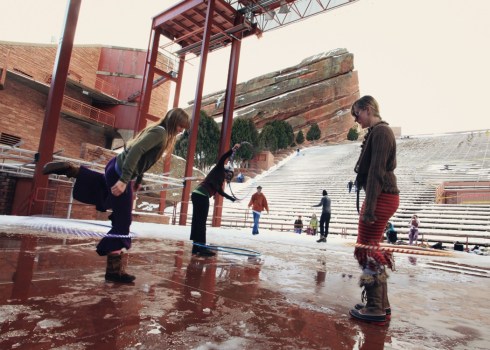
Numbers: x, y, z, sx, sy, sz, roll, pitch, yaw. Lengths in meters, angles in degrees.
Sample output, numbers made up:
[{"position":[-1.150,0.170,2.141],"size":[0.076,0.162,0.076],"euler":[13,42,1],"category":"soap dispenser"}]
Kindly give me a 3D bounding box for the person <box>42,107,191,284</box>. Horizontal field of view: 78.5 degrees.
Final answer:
[{"position":[-1.287,0.121,3.119],"size":[1.195,1.879,0.448],"euler":[7,-8,-10],"category":"person"}]

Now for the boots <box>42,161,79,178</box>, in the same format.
[{"position":[-1.774,-0.044,2.936],"size":[0.167,0.090,0.258],"euler":[2,-4,-5],"category":"boots"}]

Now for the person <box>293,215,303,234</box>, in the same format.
[{"position":[2.996,2.697,16.696],"size":[0.508,0.907,1.438],"euler":[5,-6,11],"category":"person"}]

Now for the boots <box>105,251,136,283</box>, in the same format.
[{"position":[-1.257,0.927,3.041],"size":[0.336,0.295,0.170],"euler":[3,-2,12],"category":"boots"}]

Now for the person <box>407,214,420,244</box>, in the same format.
[{"position":[7.251,2.290,12.888],"size":[0.322,1.248,1.386],"euler":[2,-8,28],"category":"person"}]

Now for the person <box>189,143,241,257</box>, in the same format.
[{"position":[-0.573,0.324,5.294],"size":[0.711,2.033,1.016],"euler":[7,-7,-2],"category":"person"}]

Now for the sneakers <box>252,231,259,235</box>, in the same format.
[{"position":[0.369,2.172,11.329],"size":[0.174,0.122,0.171],"euler":[1,3,36],"category":"sneakers"}]

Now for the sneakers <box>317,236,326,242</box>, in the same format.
[{"position":[2.632,2.243,10.554],"size":[0.506,0.231,0.164],"euler":[-2,-8,0],"category":"sneakers"}]

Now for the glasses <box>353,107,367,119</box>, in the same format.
[{"position":[1.183,-0.636,3.104],"size":[0.106,0.057,0.081],"euler":[2,-2,-15],"category":"glasses"}]
